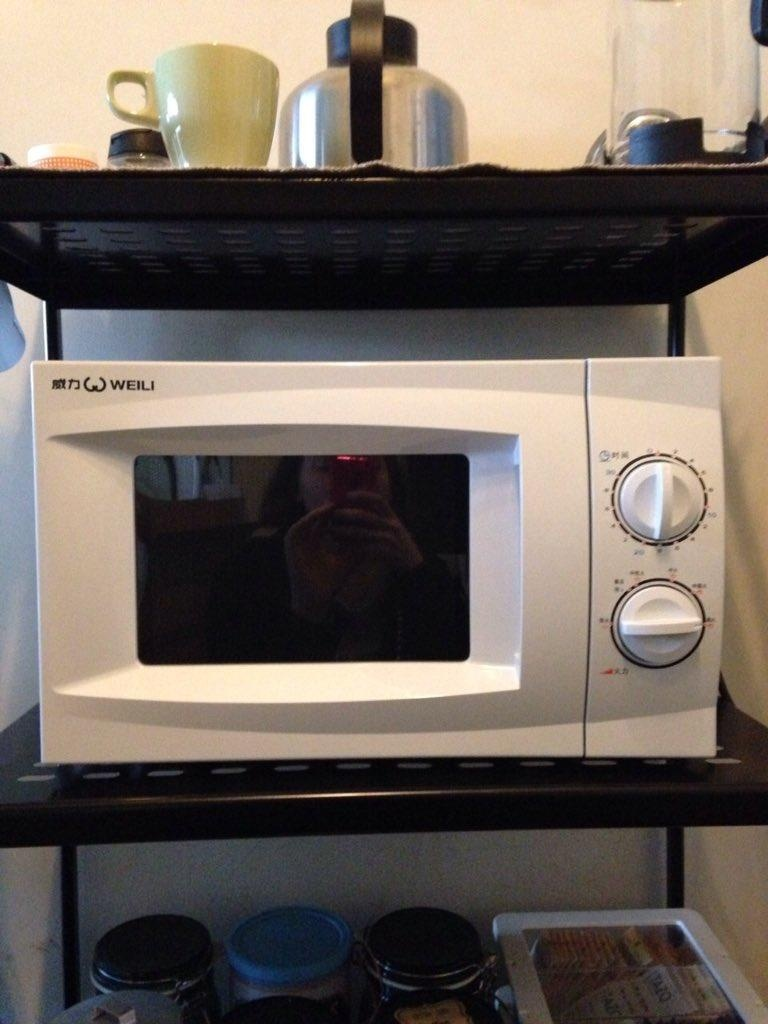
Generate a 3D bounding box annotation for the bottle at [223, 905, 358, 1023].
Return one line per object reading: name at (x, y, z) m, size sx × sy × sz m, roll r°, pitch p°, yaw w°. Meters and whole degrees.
bottle at (-0.089, 0.393, 0.989) m, size 0.074 × 0.107 × 0.086 m, roll 1°, pitch 6°, yaw 4°

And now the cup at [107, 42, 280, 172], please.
cup at (-0.157, -0.294, 0.859) m, size 0.127 × 0.102 × 0.102 m, roll 0°, pitch -18°, yaw -17°

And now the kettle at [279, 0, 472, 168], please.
kettle at (-0.008, -0.305, 0.905) m, size 0.142 × 0.165 × 0.168 m, roll -1°, pitch 11°, yaw -1°

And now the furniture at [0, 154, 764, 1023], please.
furniture at (-0.015, 0.130, 1.020) m, size 0.602 × 0.778 × 0.511 m, roll 0°, pitch 6°, yaw -1°
